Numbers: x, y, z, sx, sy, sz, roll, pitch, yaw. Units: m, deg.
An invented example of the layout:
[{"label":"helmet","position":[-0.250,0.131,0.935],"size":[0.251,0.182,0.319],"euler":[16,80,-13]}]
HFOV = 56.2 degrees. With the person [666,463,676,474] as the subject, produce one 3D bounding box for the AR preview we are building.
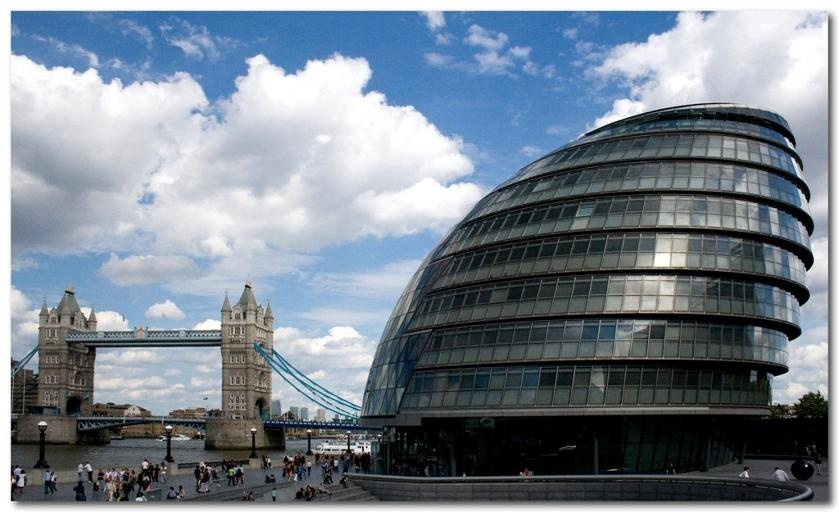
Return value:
[{"label":"person","position":[22.502,19.231,70.771],"size":[1.045,1.054,1.063],"euler":[-4,-16,14]}]
